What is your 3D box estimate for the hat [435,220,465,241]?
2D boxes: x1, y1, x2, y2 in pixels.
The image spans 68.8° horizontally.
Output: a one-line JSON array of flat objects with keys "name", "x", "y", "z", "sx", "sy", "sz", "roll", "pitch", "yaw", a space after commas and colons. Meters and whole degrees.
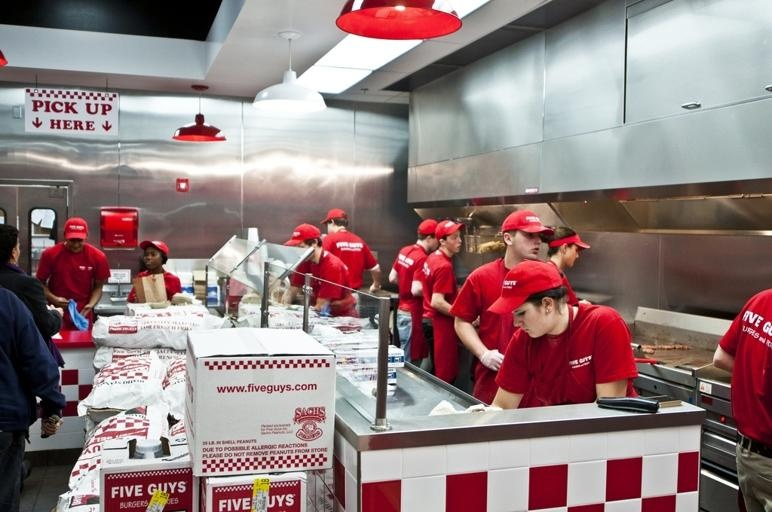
[{"name": "hat", "x": 0.538, "y": -0.231, "z": 4.873, "sx": 0.216, "sy": 0.109, "sz": 0.154, "roll": -22, "pitch": 4, "yaw": 26}]

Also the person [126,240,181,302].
[{"name": "person", "x": -2.192, "y": 0.233, "z": 5.354, "sx": 0.543, "sy": 0.713, "sz": 0.397, "roll": 0, "pitch": -18, "yaw": -2}]

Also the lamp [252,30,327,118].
[{"name": "lamp", "x": -0.797, "y": -1.548, "z": 4.669, "sx": 0.603, "sy": 0.593, "sz": 0.620, "roll": 24, "pitch": 33, "yaw": 35}]

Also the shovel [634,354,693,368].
[{"name": "shovel", "x": 1.867, "y": 0.713, "z": 3.846, "sx": 0.180, "sy": 0.045, "sz": 0.161, "roll": 0, "pitch": 1, "yaw": -23}]

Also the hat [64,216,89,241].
[{"name": "hat", "x": -3.147, "y": -0.281, "z": 5.749, "sx": 0.246, "sy": 0.190, "sz": 0.359, "roll": 6, "pitch": 18, "yaw": -30}]

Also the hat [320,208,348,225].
[{"name": "hat", "x": -0.625, "y": -0.456, "z": 6.404, "sx": 0.334, "sy": 0.176, "sz": 0.230, "roll": 3, "pitch": 3, "yaw": 24}]

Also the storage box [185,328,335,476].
[{"name": "storage box", "x": -0.519, "y": 0.587, "z": 2.296, "sx": 0.562, "sy": 0.515, "sz": 0.430, "roll": -2, "pitch": 1, "yaw": -19}]

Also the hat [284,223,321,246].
[{"name": "hat", "x": -0.770, "y": -0.199, "z": 5.254, "sx": 0.330, "sy": 0.178, "sz": 0.216, "roll": -2, "pitch": 3, "yaw": -7}]

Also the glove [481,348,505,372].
[{"name": "glove", "x": 0.661, "y": 0.650, "z": 3.492, "sx": 0.099, "sy": 0.137, "sz": 0.163, "roll": -2, "pitch": 2, "yaw": -32}]

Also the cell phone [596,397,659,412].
[{"name": "cell phone", "x": 1.000, "y": 0.608, "z": 2.323, "sx": 0.184, "sy": 0.045, "sz": 0.090, "roll": 0, "pitch": -1, "yaw": 13}]

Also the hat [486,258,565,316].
[{"name": "hat", "x": 0.621, "y": 0.105, "z": 2.523, "sx": 0.322, "sy": 0.161, "sz": 0.200, "roll": -21, "pitch": 6, "yaw": -7}]

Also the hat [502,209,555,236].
[{"name": "hat", "x": 0.897, "y": -0.224, "z": 3.567, "sx": 0.282, "sy": 0.137, "sz": 0.181, "roll": -5, "pitch": -9, "yaw": 24}]

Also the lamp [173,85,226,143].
[{"name": "lamp", "x": -1.996, "y": -1.541, "z": 6.071, "sx": 0.536, "sy": 0.535, "sz": 0.540, "roll": 7, "pitch": 9, "yaw": 34}]
